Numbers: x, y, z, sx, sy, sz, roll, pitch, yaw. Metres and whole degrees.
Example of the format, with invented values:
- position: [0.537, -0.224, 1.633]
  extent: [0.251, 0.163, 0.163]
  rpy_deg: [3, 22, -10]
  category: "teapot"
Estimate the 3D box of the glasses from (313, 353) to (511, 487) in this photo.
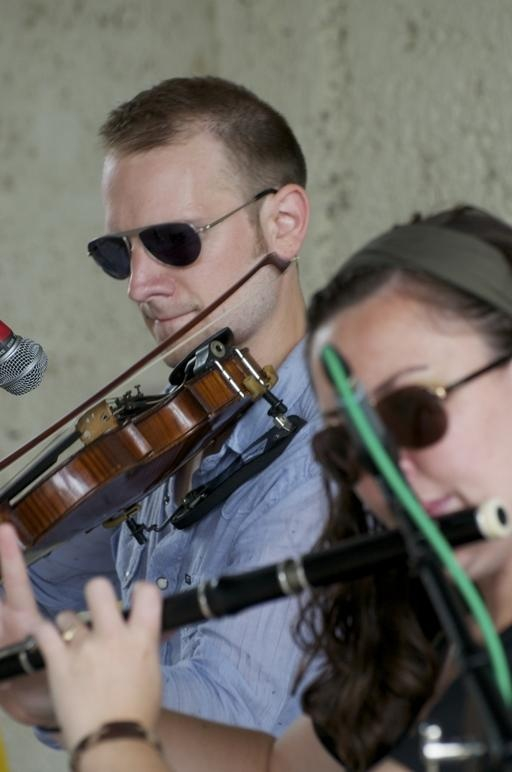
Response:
- position: [0.101, 0.008, 0.581]
  extent: [0.120, 0.086, 0.029]
  rpy_deg: [-25, 87, -10]
  category: "glasses"

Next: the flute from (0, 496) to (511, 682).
- position: [0.000, 0.156, 0.679]
  extent: [0.578, 0.059, 0.048]
  rpy_deg: [-21, 59, 27]
  category: "flute"

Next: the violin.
- position: [-0.097, 0.044, 1.033]
  extent: [0.391, 0.200, 0.126]
  rpy_deg: [-27, 77, -22]
  category: "violin"

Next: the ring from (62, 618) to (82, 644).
- position: [-0.123, 0.161, 0.586]
  extent: [0.010, 0.004, 0.017]
  rpy_deg: [-3, 20, 3]
  category: "ring"

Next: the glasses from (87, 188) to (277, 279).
- position: [-0.098, -0.171, 1.113]
  extent: [0.156, 0.041, 0.158]
  rpy_deg: [-4, 19, 47]
  category: "glasses"
